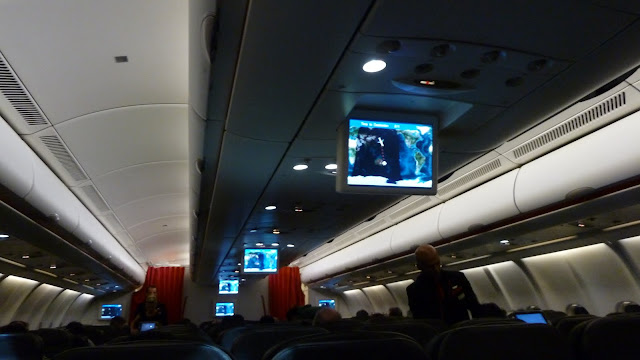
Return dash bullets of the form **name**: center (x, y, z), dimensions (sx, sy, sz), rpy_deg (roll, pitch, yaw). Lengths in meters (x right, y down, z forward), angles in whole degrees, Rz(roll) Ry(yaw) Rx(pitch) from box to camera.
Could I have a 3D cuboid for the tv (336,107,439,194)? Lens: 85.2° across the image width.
- **tv**: center (0.902, -0.383, 5.082), dimensions (1.546, 1.129, 0.566), rpy_deg (3, -3, -23)
